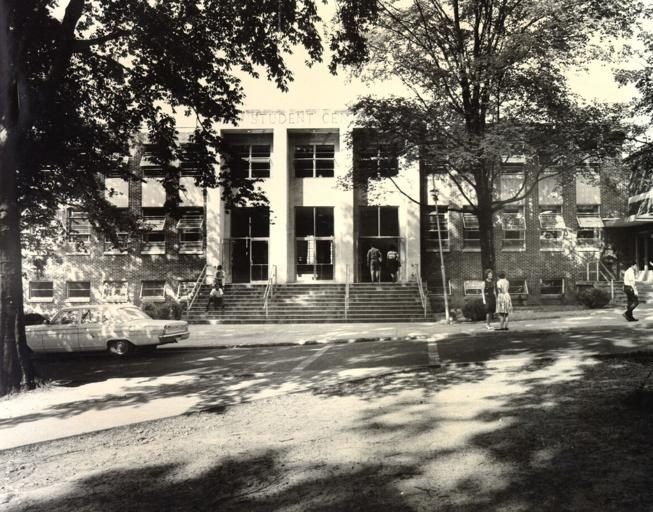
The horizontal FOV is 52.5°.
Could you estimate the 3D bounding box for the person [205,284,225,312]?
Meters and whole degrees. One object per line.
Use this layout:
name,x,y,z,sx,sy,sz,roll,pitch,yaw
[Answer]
person,-4.877,1.795,28.915,0.768,1.175,1.266,-4,3,-9

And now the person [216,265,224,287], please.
person,-4.663,0.903,28.655,0.295,0.979,0.922,-3,3,-7
